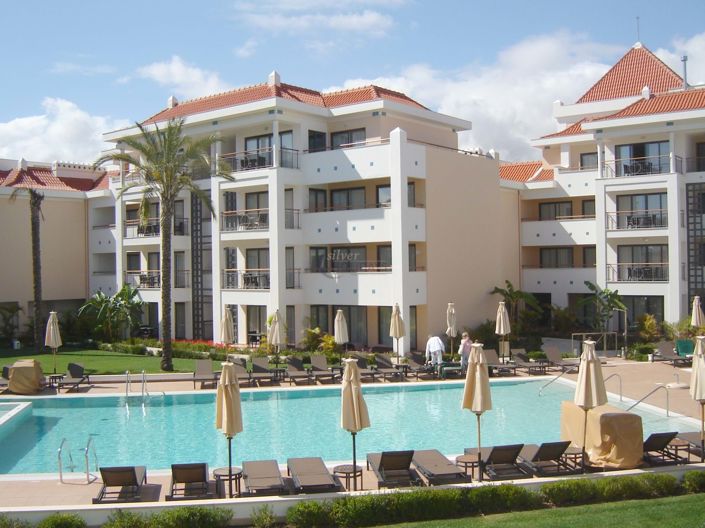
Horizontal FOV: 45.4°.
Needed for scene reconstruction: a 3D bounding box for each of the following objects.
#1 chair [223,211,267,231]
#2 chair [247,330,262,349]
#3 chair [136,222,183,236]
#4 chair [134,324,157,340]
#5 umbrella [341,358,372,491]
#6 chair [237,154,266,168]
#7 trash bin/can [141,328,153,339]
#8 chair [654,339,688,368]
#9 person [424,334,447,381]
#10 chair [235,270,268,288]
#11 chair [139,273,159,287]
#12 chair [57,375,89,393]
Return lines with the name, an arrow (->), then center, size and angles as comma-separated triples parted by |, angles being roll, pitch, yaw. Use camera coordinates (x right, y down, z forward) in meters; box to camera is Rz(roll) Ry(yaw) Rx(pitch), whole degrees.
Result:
chair -> -5.766, -2.430, 46.266 | 2.878, 1.032, 1.015 | -1, -4, 31
chair -> -5.358, 4.139, 46.399 | 0.983, 1.086, 0.722 | -1, -4, 9
chair -> -11.408, -1.995, 50.557 | 3.333, 0.896, 0.749 | -3, -6, 31
chair -> -12.338, 4.119, 50.294 | 1.457, 0.833, 1.442 | 3, 6, -4
umbrella -> 0.069, 4.827, 25.952 | 0.781, 3.851, 2.218 | 0, -4, 1
chair -> -5.545, -5.672, 46.758 | 1.486, 0.853, 0.674 | 2, -3, 22
trash bin/can -> -12.142, 4.092, 50.076 | 0.783, 0.610, 0.777 | 3, -3, -7
chair -> 14.836, 4.236, 39.793 | 1.012, 1.136, 2.516 | 0, -5, -1
person -> 3.703, 4.175, 38.079 | 0.797, 2.229, 0.605 | 1, -31, -6
chair -> -5.340, 0.834, 46.220 | 2.444, 1.019, 0.583 | -5, -6, 43
chair -> -12.002, 0.949, 50.439 | 0.987, 1.064, 1.026 | 0, 1, 26
chair -> -11.921, 5.118, 36.197 | 1.232, 0.663, 1.593 | -1, -5, 4
